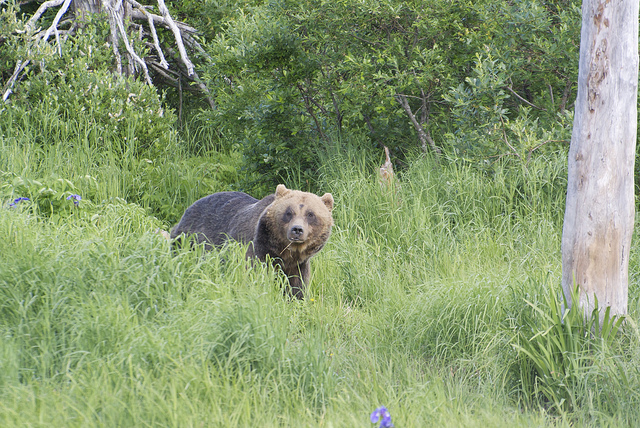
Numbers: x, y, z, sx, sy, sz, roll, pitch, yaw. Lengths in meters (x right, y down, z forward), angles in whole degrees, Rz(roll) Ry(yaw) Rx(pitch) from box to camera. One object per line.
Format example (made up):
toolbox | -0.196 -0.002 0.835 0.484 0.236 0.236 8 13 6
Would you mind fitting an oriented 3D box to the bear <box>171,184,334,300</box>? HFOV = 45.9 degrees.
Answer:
bear | -0.996 0.485 9.668 2.893 1.717 0.992 2 -3 42
